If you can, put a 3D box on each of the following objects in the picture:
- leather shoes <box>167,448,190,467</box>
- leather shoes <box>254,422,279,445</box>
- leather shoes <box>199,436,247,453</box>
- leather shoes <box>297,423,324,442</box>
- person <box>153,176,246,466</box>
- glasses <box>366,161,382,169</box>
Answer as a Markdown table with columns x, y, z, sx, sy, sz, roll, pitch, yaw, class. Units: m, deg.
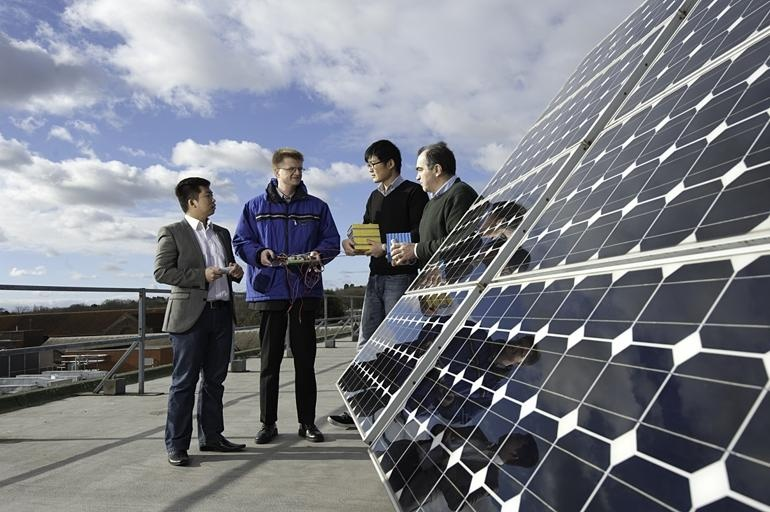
| x | y | z | sx | sy | sz | roll | pitch | yaw | class |
| --- | --- | --- | --- | --- | --- | --- | --- | --- | --- |
| -1.649 | 1.612 | 3.856 | 0.155 | 0.111 | 0.139 | -1 | -2 | -20 | leather shoes |
| -1.089 | 1.640 | 4.489 | 0.134 | 0.162 | 0.302 | -2 | -2 | 15 | leather shoes |
| -1.417 | 1.653 | 4.253 | 0.404 | 0.146 | 0.148 | 0 | -8 | 1 | leather shoes |
| -0.688 | 1.649 | 4.511 | 0.112 | 0.120 | 0.286 | 3 | -13 | -31 | leather shoes |
| -1.612 | 0.507 | 4.211 | 0.559 | 2.419 | 0.804 | -3 | -2 | 30 | person |
| -0.114 | -0.964 | 5.061 | 0.169 | 0.075 | 0.046 | -4 | -3 | 39 | glasses |
